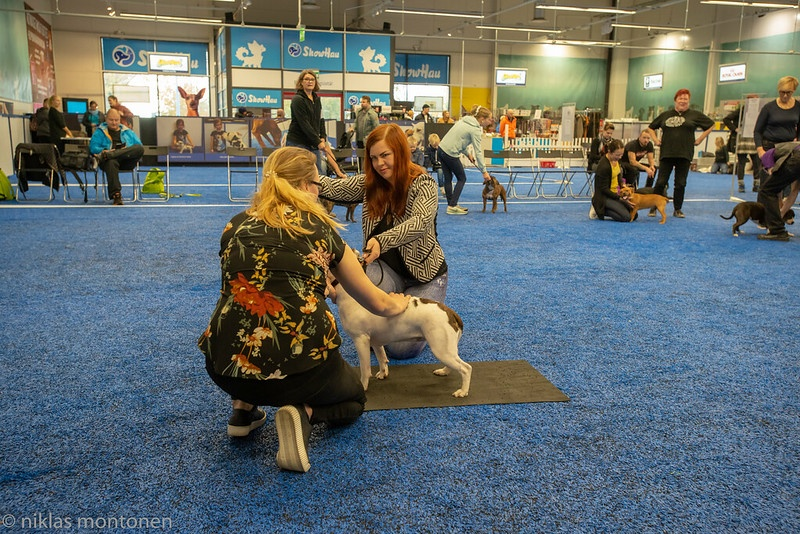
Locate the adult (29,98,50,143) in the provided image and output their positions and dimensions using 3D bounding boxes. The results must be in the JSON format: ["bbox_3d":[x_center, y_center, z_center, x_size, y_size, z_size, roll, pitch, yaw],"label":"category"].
[{"bbox_3d":[-9.814,-3.972,14.259,0.481,1.086,3.347,-11,18,-33],"label":"adult"}]

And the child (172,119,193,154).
[{"bbox_3d":[-7.570,-4.552,18.150,0.729,1.108,0.277,-7,17,-22],"label":"child"}]

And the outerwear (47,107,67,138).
[{"bbox_3d":[-8.598,-3.607,13.121,0.360,0.789,0.550,-10,18,-32],"label":"outerwear"}]

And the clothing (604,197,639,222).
[{"bbox_3d":[3.855,-1.012,9.211,0.369,0.243,0.504,13,12,41],"label":"clothing"}]

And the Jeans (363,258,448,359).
[{"bbox_3d":[0.073,0.216,3.675,0.470,0.763,0.420,-9,-7,7],"label":"Jeans"}]

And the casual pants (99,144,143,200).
[{"bbox_3d":[-5.190,-1.563,9.640,0.601,0.951,1.643,-11,33,-18],"label":"casual pants"}]

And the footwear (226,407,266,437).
[{"bbox_3d":[-0.839,0.832,2.827,0.096,0.093,0.239,0,2,6],"label":"footwear"}]

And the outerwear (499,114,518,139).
[{"bbox_3d":[4.441,-5.870,21.636,0.656,1.007,2.044,2,15,10],"label":"outerwear"}]

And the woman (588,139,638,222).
[{"bbox_3d":[3.825,-1.548,9.291,0.660,1.348,0.807,-23,28,-33],"label":"woman"}]
